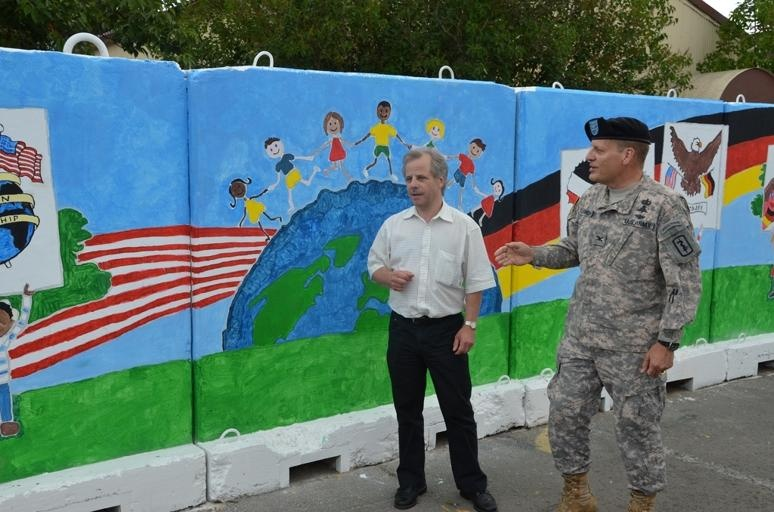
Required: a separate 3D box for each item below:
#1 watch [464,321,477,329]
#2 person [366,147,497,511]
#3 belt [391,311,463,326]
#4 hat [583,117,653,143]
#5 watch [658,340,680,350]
[{"bbox_3d":[0.644,0.516,5.574,0.101,0.061,0.099,12,-6,-1],"label":"watch"},{"bbox_3d":[0.357,0.557,5.669,0.921,2.755,0.366,-3,3,-1],"label":"person"},{"bbox_3d":[0.289,0.474,5.615,0.548,0.109,0.139,-2,3,7],"label":"belt"},{"bbox_3d":[1.669,-0.872,5.315,0.320,0.102,0.235,0,7,-8],"label":"hat"},{"bbox_3d":[1.953,0.606,5.103,0.093,0.037,0.070,24,17,24],"label":"watch"}]
